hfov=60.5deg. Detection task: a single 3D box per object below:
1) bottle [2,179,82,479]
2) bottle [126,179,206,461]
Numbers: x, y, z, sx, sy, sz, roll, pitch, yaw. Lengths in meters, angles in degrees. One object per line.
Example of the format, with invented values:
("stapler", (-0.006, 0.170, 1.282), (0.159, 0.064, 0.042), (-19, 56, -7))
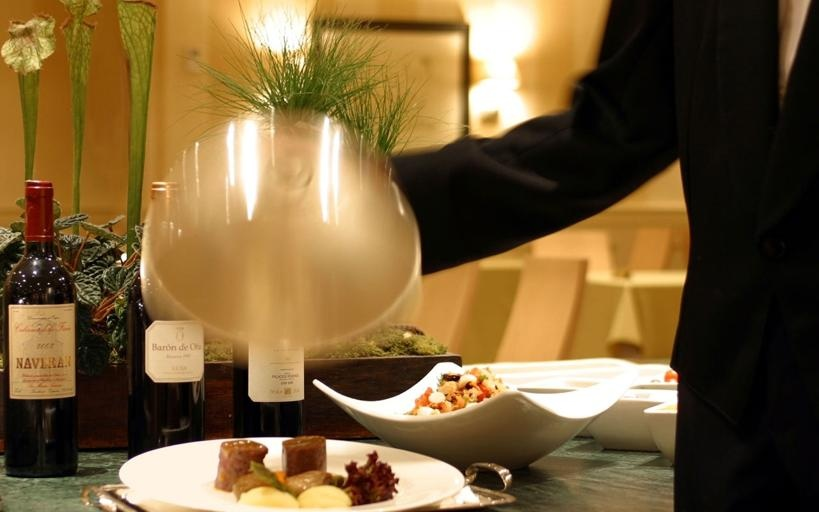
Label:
("bottle", (-0.491, 0.097, 0.929), (0.090, 0.386, 0.055), (-2, 3, -27))
("bottle", (-0.318, 0.087, 0.928), (0.105, 0.420, 0.094), (-20, 42, -40))
